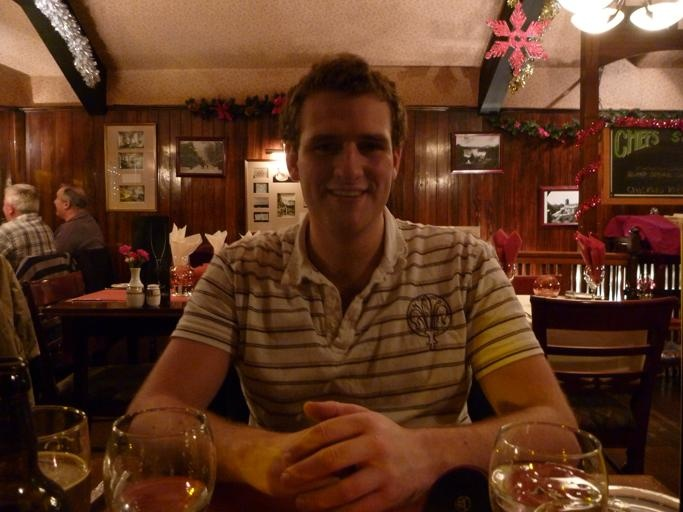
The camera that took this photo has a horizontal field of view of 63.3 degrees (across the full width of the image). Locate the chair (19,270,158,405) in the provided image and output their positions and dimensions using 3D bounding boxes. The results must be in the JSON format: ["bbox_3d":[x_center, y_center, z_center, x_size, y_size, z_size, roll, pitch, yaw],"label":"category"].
[{"bbox_3d":[-1.420,0.473,3.206,0.564,0.672,0.910,-1,8,-9],"label":"chair"}]

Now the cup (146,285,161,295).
[{"bbox_3d":[-1.169,0.203,3.381,0.063,0.066,0.067,3,-1,0],"label":"cup"}]

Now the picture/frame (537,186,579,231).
[{"bbox_3d":[2.524,-0.574,6.477,0.518,0.578,0.056,0,3,-2],"label":"picture/frame"}]

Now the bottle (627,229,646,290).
[{"bbox_3d":[2.597,0.025,4.875,0.125,0.535,0.452,3,5,28],"label":"bottle"}]
